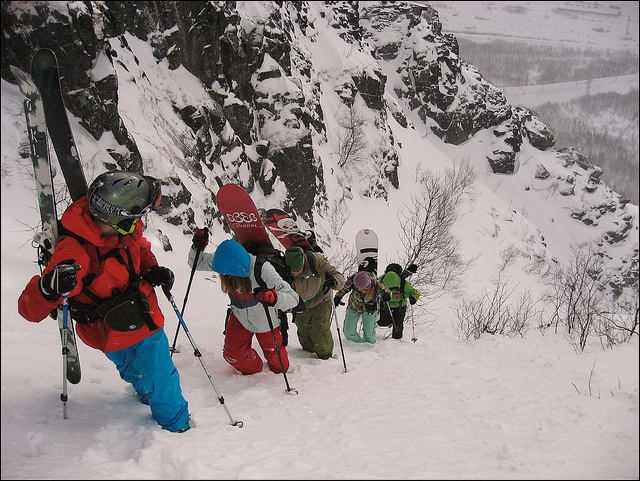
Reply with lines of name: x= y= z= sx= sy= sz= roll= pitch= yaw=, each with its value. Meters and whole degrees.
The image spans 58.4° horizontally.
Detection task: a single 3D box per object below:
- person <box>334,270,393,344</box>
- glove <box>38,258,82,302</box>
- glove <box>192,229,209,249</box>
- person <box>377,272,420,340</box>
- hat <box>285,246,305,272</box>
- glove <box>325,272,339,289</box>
person: x=0.946 y=1.693 z=13.316 sx=1.212 sy=2.463 sz=0.881 roll=-1 pitch=28 yaw=0
glove: x=-4.005 y=0.613 z=8.778 sx=0.465 sy=0.639 sz=0.265 roll=43 pitch=18 yaw=14
glove: x=-2.190 y=-0.015 z=10.601 sx=0.264 sy=0.391 sz=0.196 roll=13 pitch=-6 yaw=7
person: x=1.829 y=1.454 z=13.832 sx=0.908 sy=1.753 sz=0.680 roll=20 pitch=32 yaw=36
hat: x=-0.511 y=0.363 z=11.420 sx=0.346 sy=0.461 sz=0.480 roll=-10 pitch=36 yaw=-1
glove: x=0.197 y=0.871 z=11.839 sx=0.211 sy=0.377 sz=0.296 roll=-17 pitch=18 yaw=-35
